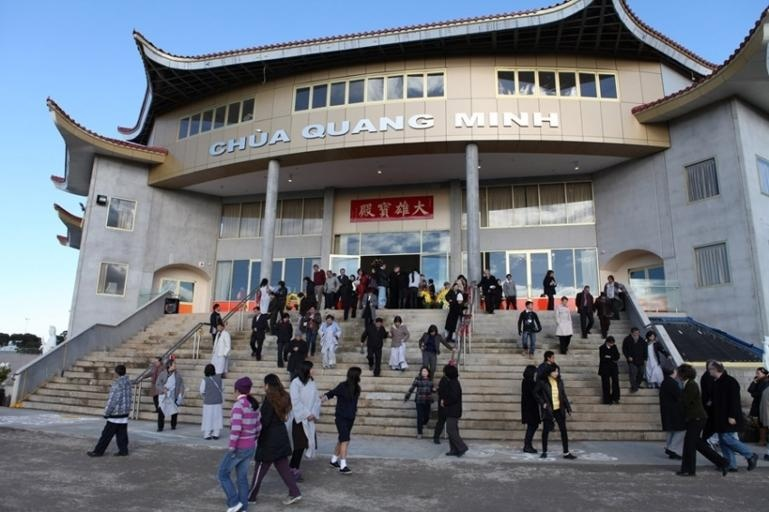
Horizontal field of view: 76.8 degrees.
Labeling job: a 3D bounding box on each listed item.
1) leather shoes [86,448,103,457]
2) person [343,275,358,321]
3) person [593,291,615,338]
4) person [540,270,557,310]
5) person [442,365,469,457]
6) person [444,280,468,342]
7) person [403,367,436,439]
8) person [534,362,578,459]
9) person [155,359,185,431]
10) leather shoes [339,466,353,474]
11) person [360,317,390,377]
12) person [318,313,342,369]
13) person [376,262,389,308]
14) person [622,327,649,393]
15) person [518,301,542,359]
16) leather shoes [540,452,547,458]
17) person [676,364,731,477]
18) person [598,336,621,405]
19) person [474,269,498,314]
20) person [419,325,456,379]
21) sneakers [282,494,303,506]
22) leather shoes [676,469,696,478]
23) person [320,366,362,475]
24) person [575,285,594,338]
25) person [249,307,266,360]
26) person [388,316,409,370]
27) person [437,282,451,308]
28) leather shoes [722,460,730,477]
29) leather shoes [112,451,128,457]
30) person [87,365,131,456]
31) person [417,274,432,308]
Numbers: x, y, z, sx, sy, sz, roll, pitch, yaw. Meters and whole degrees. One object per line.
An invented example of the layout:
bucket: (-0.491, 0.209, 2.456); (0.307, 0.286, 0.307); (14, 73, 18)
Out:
leather shoes: (-6.489, 4.425, 10.909); (0.431, 0.192, 0.162); (5, -7, 10)
person: (-1.392, 1.794, 20.114); (0.517, 1.763, 0.788); (1, -8, -3)
person: (7.944, 2.192, 17.677); (0.515, 1.603, 1.297); (-3, -9, 27)
person: (6.984, 1.483, 20.638); (0.425, 1.713, 1.258); (-2, -8, 21)
person: (1.630, 3.683, 11.607); (0.594, 2.109, 0.530); (3, -8, -19)
person: (2.571, 2.052, 17.423); (0.808, 2.166, 0.938); (-5, -10, 38)
person: (1.012, 4.084, 13.635); (0.781, 1.911, 1.290); (0, -8, 5)
person: (3.912, 3.613, 11.332); (0.898, 2.170, 0.589); (7, -10, -38)
person: (-6.151, 3.977, 13.934); (0.640, 2.017, 0.546); (5, -9, -30)
leather shoes: (-0.831, 4.395, 9.964); (0.134, 0.103, 0.245); (4, -14, -30)
person: (-0.321, 2.960, 15.783); (0.809, 1.854, 1.517); (1, -8, -1)
person: (-1.901, 2.914, 16.560); (0.636, 1.757, 1.015); (2, -8, -9)
person: (-0.165, 1.377, 20.953); (0.447, 1.796, 0.960); (0, -8, 6)
person: (7.607, 3.181, 14.775); (0.647, 1.939, 0.796); (-3, -9, 26)
person: (4.951, 2.529, 16.700); (0.689, 1.824, 1.224); (-2, -8, 16)
leather shoes: (3.691, 4.651, 11.330); (0.123, 0.162, 0.159); (2, -2, -35)
person: (6.676, 3.654, 10.445); (1.189, 1.974, 0.619); (4, -9, -23)
person: (6.537, 3.350, 14.185); (0.541, 1.994, 0.808); (-2, -9, 22)
person: (4.388, 1.524, 20.357); (0.741, 1.811, 1.343); (-2, -8, 19)
person: (1.633, 3.023, 14.985); (1.263, 1.971, 0.761); (7, -38, -5)
sneakers: (-1.626, 4.304, 8.533); (0.329, 0.170, 0.135); (-17, -24, 20)
leather shoes: (6.275, 4.545, 10.172); (0.406, 0.181, 0.151); (3, -15, 10)
person: (-0.890, 3.444, 10.417); (0.683, 2.160, 1.469); (1, -8, -3)
person: (7.319, 2.070, 17.726); (0.566, 1.874, 0.786); (-2, -8, 21)
person: (-4.522, 2.842, 17.451); (0.505, 1.825, 0.773); (3, -8, -15)
person: (0.447, 2.859, 15.743); (0.623, 1.749, 1.165); (1, -8, 1)
person: (2.818, 1.917, 23.295); (0.975, 1.223, 0.591); (5, 1, 8)
leather shoes: (7.224, 4.524, 10.300); (0.118, 0.371, 0.157); (-1, 4, 8)
leather shoes: (-5.941, 4.467, 10.918); (0.327, 0.153, 0.117); (4, -8, 16)
person: (-6.239, 3.539, 11.207); (0.722, 1.955, 0.857); (5, -9, -28)
person: (1.989, 1.781, 23.825); (0.901, 1.543, 0.474); (6, -9, -33)
